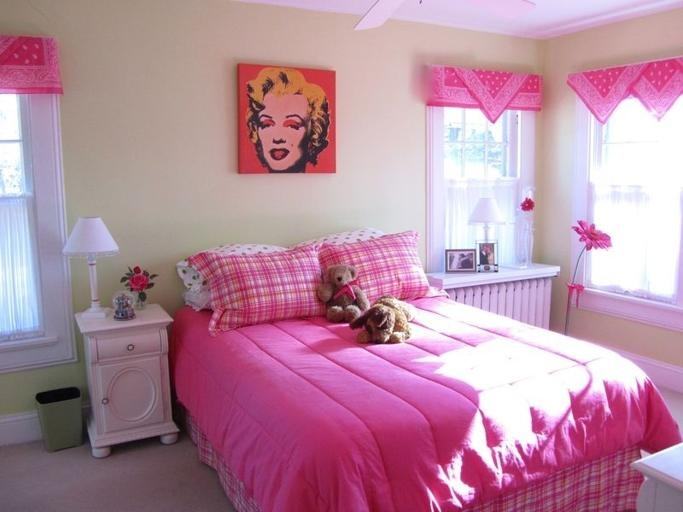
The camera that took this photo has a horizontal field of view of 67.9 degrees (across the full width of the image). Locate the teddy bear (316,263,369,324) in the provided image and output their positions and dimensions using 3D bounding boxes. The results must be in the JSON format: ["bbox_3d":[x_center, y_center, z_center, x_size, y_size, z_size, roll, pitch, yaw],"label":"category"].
[{"bbox_3d":[0.014,0.246,3.320,0.335,0.363,0.236,-1,4,11],"label":"teddy bear"}]

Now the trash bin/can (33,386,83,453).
[{"bbox_3d":[-1.821,1.065,3.235,0.320,0.433,0.234,-4,6,-34],"label":"trash bin/can"}]

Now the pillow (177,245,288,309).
[{"bbox_3d":[-0.795,0.105,3.544,0.545,0.179,0.504,-11,20,-30],"label":"pillow"}]

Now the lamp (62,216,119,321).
[{"bbox_3d":[-1.613,0.072,3.236,0.286,0.641,0.384,-12,17,-38],"label":"lamp"}]

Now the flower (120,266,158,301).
[{"bbox_3d":[-1.371,0.195,3.415,0.247,0.272,0.284,-6,14,-21],"label":"flower"}]

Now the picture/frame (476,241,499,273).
[{"bbox_3d":[1.261,0.018,4.366,0.248,0.344,0.034,-1,4,-18],"label":"picture/frame"}]
